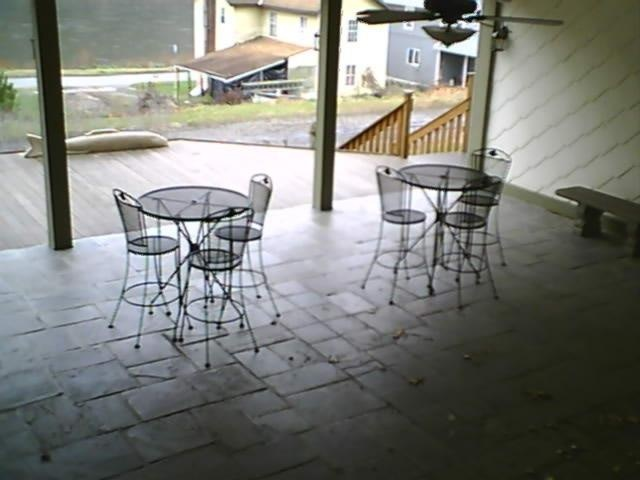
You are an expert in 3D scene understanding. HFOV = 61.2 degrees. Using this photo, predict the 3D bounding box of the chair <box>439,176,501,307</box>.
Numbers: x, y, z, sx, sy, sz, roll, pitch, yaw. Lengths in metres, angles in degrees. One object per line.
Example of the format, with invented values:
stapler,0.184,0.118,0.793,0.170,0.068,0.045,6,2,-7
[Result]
chair,1.623,0.048,5.861,0.820,1.490,0.794,0,35,3

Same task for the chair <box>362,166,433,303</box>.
chair,0.929,-0.268,6.090,0.695,1.203,2.174,6,20,8

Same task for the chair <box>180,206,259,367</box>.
chair,-0.902,0.451,4.894,0.703,1.308,0.698,-17,42,-31

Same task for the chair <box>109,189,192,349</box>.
chair,-1.586,0.323,5.090,0.854,1.618,0.697,-9,41,-30

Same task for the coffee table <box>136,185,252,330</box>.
coffee table,-1.088,0.155,4.933,0.945,1.169,1.412,-5,22,-18
